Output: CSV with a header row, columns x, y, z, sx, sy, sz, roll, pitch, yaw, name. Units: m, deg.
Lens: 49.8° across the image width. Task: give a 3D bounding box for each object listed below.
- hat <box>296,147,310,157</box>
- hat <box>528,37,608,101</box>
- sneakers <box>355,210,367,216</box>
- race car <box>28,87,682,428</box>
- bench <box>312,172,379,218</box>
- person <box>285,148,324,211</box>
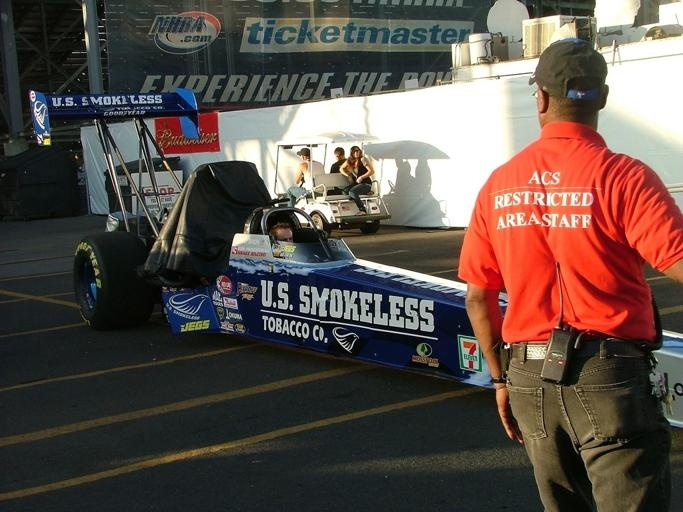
x,y,z,sx,sy,sz,roll,pitch,yaw,name
-0.797,-2.215,15.608,0.429,0.216,0.599,1,7,0,hat
0.839,-0.674,2.690,0.199,0.146,0.271,2,27,-1,hat
0.389,-0.868,14.982,0.099,0.075,0.191,3,2,44,sneakers
-0.155,-0.286,6.688,2.597,2.325,6.255,-13,15,-40,race car
0.085,-1.192,14.987,0.876,0.660,1.244,-4,15,-27,bench
-0.681,-1.555,15.568,0.683,1.404,0.823,-17,22,-38,person
